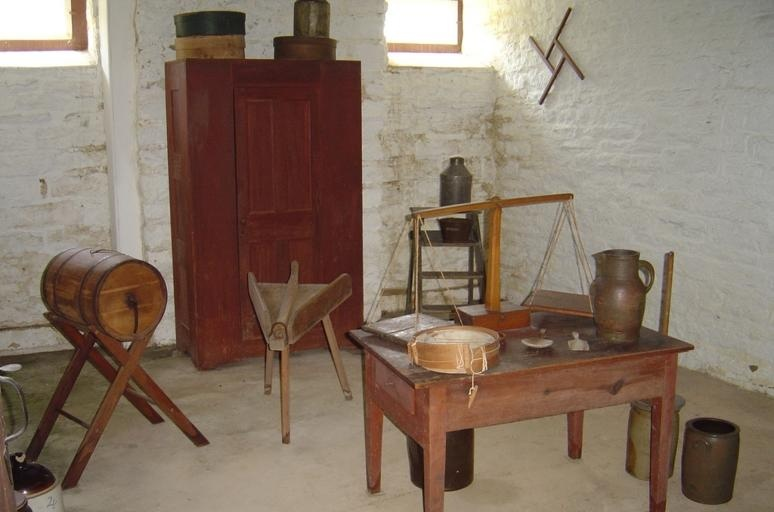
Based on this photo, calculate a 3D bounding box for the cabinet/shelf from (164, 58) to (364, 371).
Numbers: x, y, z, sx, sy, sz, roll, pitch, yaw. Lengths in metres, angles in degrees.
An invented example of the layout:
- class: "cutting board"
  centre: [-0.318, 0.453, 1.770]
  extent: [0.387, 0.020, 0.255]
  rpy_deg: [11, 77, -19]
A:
- class: "cabinet/shelf"
  centre: [-1.346, -0.505, 6.765]
  extent: [1.887, 2.737, 0.975]
  rpy_deg: [-7, 12, -36]

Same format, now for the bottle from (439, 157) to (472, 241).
- class: "bottle"
  centre: [0.730, -0.596, 6.841]
  extent: [0.350, 0.895, 0.447]
  rpy_deg: [0, 14, 8]

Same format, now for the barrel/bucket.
- class: "barrel/bucket"
  centre: [-1.959, 0.251, 5.064]
  extent: [1.082, 0.749, 0.739]
  rpy_deg: [9, 1, 30]
